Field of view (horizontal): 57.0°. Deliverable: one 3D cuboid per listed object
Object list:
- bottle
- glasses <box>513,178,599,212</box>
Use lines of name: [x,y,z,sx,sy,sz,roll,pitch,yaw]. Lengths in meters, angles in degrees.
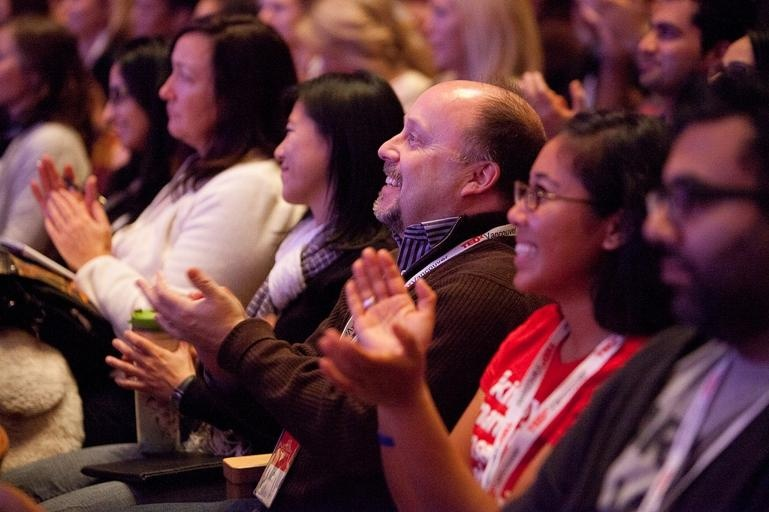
bottle: [-0.902,0.497,2.805,0.187,0.553,0.299,-4,25,-18]
glasses: [0.460,-0.153,1.974,0.238,0.062,0.059,20,28,32]
